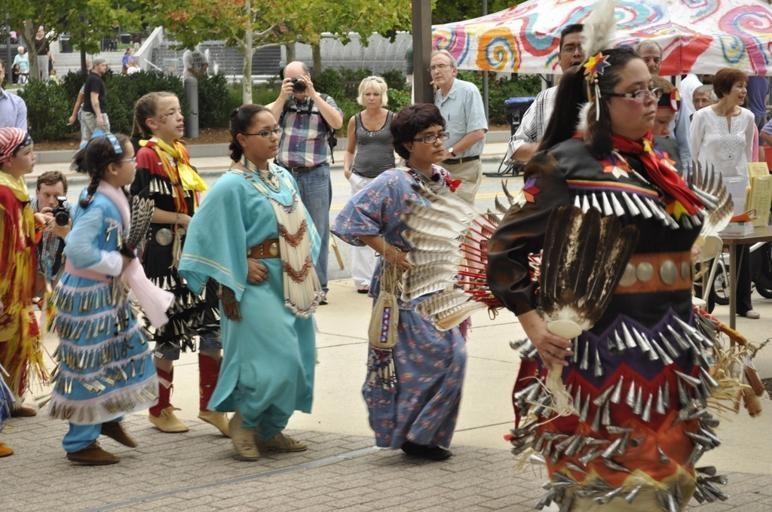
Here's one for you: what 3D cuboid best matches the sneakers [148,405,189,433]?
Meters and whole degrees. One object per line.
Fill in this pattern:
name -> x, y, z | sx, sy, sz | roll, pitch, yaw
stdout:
sneakers -> -1.670, 1.208, 7.541 | 0.391, 0.139, 0.135 | 4, 8, 33

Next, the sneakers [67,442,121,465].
sneakers -> -1.983, 1.347, 6.932 | 0.424, 0.143, 0.128 | 1, 2, -4

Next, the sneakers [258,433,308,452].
sneakers -> -0.730, 1.298, 7.102 | 0.413, 0.130, 0.123 | -1, 3, -1

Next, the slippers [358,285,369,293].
slippers -> -0.249, 0.373, 11.292 | 0.144, 0.070, 0.088 | 7, 10, 43

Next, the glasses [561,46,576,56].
glasses -> 1.326, -1.470, 7.338 | 0.089, 0.071, 0.106 | 6, 15, -4

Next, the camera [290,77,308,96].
camera -> -0.901, -1.728, 10.391 | 0.161, 0.123, 0.155 | 19, 9, -3

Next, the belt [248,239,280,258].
belt -> -0.823, -0.047, 6.895 | 0.169, 0.083, 0.150 | 0, 1, -18

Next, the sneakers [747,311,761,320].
sneakers -> 3.630, 0.580, 10.028 | 0.083, 0.046, 0.133 | -2, -2, 3

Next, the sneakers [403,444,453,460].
sneakers -> 0.274, 1.313, 6.881 | 0.323, 0.104, 0.117 | -1, 2, 18

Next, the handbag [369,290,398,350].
handbag -> -0.012, 0.435, 6.767 | 0.253, 0.412, 0.386 | 7, -7, -7
